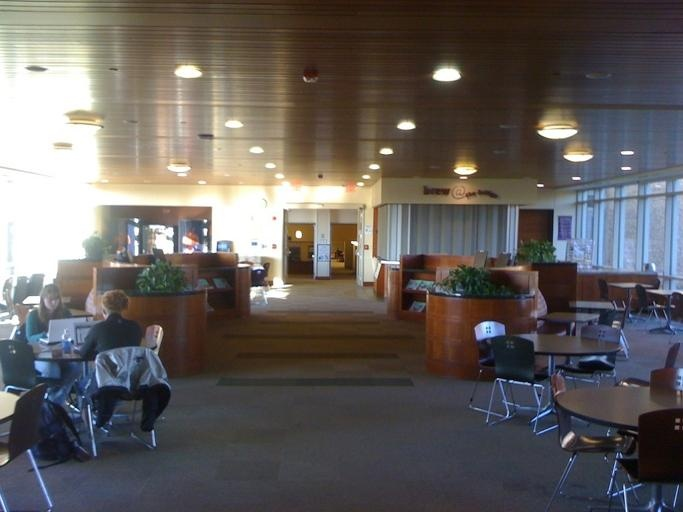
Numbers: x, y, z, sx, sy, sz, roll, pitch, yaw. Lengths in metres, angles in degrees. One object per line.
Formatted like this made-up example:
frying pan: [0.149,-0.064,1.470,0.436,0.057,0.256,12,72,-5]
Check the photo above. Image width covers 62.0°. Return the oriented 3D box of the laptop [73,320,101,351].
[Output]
laptop: [-2.645,0.835,5.839,0.318,0.282,0.165,0,1,-12]

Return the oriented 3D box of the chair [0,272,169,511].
chair: [-2.442,1.147,5.760,1.185,1.472,0.874,-3,7,-24]

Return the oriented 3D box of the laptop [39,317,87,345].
laptop: [-3.007,0.781,6.097,0.390,0.232,0.287,2,-5,-24]

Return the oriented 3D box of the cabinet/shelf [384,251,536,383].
cabinet/shelf: [1.918,0.746,10.313,1.640,1.680,5.462,0,6,-2]
